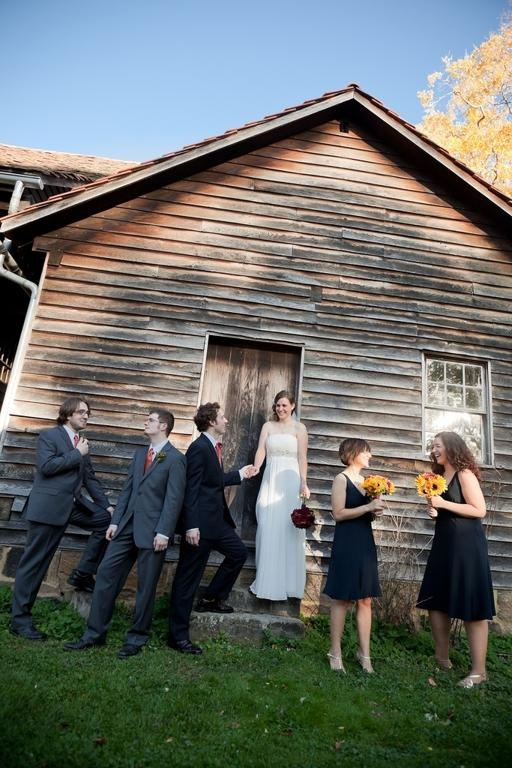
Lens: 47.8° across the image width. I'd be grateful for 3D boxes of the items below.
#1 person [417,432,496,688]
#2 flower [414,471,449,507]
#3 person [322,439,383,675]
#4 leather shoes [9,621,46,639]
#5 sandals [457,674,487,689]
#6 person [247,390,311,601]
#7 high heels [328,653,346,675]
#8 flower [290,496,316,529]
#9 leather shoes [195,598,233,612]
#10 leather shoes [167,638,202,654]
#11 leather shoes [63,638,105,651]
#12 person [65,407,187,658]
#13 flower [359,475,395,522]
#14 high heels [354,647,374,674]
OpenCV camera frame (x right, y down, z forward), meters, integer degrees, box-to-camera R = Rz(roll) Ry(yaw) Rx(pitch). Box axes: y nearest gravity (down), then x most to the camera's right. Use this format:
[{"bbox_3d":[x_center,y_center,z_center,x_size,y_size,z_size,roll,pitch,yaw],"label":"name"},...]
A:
[{"bbox_3d":[1.574,1.280,4.500,0.535,1.855,0.591,5,-12,16],"label":"person"},{"bbox_3d":[1.372,0.785,4.486,0.227,0.196,0.228,-1,12,37],"label":"flower"},{"bbox_3d":[0.760,1.261,4.448,0.438,1.736,0.394,6,-12,12],"label":"person"},{"bbox_3d":[-1.721,1.854,4.363,0.300,0.081,0.170,-1,-13,37],"label":"leather shoes"},{"bbox_3d":[1.540,2.121,4.129,0.214,0.082,0.078,15,-43,-24],"label":"sandals"},{"bbox_3d":[0.246,0.995,5.450,0.611,1.955,0.528,7,-12,7],"label":"person"},{"bbox_3d":[0.595,2.033,4.241,0.134,0.113,0.255,6,-11,11],"label":"high heels"},{"bbox_3d":[0.451,1.136,5.062,0.249,0.304,0.256,4,-15,-10],"label":"flower"},{"bbox_3d":[-0.357,1.889,4.934,0.316,0.126,0.129,2,-7,-8],"label":"leather shoes"},{"bbox_3d":[-0.534,1.956,4.353,0.254,0.090,0.095,-8,-18,35],"label":"leather shoes"},{"bbox_3d":[-1.239,1.876,4.174,0.252,0.100,0.090,15,-20,-27],"label":"leather shoes"},{"bbox_3d":[-0.911,1.047,4.353,0.626,1.806,0.305,8,-12,0],"label":"person"},{"bbox_3d":[0.947,0.825,4.499,0.359,0.352,0.364,-7,-1,12],"label":"flower"},{"bbox_3d":[0.818,2.062,4.322,0.138,0.137,0.289,5,-11,12],"label":"high heels"}]
